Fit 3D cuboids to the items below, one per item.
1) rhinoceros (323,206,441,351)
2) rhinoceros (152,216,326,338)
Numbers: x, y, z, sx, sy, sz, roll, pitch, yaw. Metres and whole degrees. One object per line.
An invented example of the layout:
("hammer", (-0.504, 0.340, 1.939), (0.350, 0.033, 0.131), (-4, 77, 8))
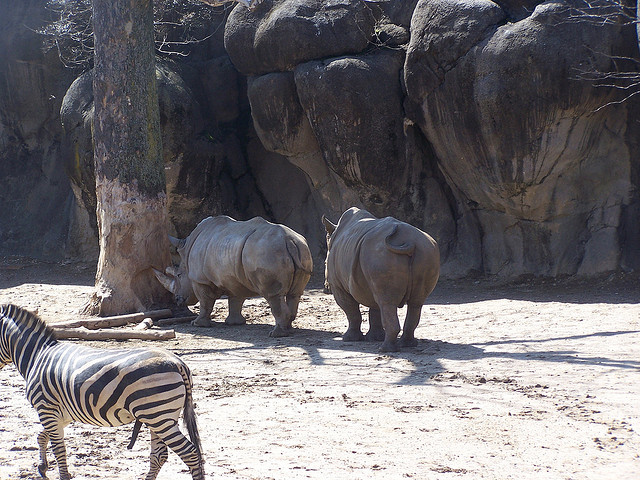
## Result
("rhinoceros", (0.744, 0.589, 22.983), (1.351, 2.166, 3.617), (-3, 3, -22))
("rhinoceros", (-1.498, 0.552, 23.899), (1.287, 1.966, 3.852), (-5, 7, -44))
